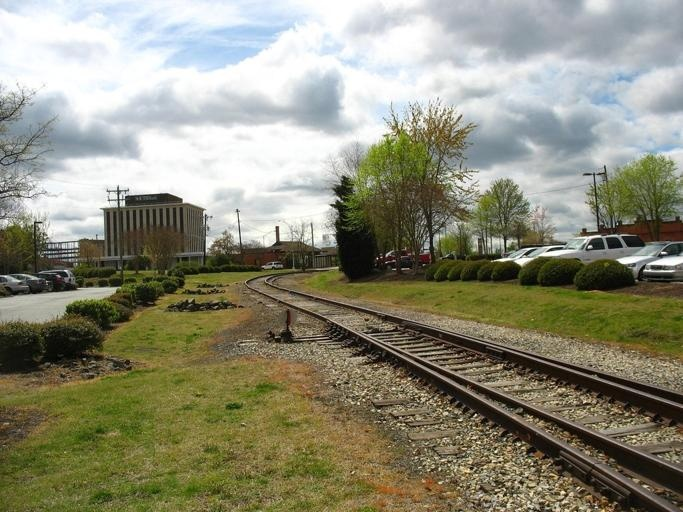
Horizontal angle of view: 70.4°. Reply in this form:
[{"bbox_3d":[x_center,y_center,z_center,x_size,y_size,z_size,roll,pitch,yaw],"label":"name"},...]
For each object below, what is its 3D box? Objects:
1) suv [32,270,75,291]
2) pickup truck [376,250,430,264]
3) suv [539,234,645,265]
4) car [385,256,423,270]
[{"bbox_3d":[-23.490,1.921,39.333,3.147,1.097,1.408,2,-1,6],"label":"suv"},{"bbox_3d":[6.190,-0.155,47.984,4.945,1.666,2.064,2,-2,11],"label":"pickup truck"},{"bbox_3d":[11.272,-0.221,21.532,3.638,1.434,1.989,1,-4,-2],"label":"suv"},{"bbox_3d":[5.872,0.705,46.280,3.271,1.108,1.482,2,-1,12],"label":"car"}]
